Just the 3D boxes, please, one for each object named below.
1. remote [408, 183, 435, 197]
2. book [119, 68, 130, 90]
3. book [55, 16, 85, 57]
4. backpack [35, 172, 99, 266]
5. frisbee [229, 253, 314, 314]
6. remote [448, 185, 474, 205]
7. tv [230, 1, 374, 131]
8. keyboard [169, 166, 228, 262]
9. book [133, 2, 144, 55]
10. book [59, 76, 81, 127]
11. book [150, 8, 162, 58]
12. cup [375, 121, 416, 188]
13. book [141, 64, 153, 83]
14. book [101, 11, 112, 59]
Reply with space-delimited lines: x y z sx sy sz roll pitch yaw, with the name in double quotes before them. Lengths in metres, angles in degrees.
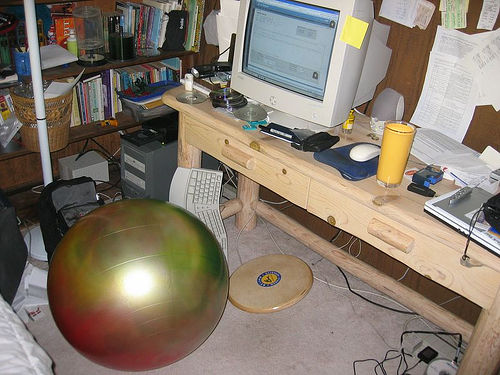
"remote" 0.626 0.011 1.405 0.078 0.019 0.039 22 44 28
"book" -0.855 -0.737 2.607 0.070 0.119 0.124 -11 38 -24
"book" -1.120 -0.950 2.393 0.179 0.203 0.182 -11 36 -21
"backpack" -0.963 0.191 2.111 0.264 0.484 0.313 10 19 36
"frisbee" 0.107 0.501 2.034 0.425 0.084 0.364 6 35 3
"remote" 0.741 0.028 1.350 0.083 0.023 0.022 -29 45 -25
"tv" 0.219 -0.515 1.599 0.420 0.363 0.245 29 42 28
"keyboard" -0.268 0.051 2.034 0.370 0.620 0.133 2 16 -9
"book" -0.737 -1.056 2.525 0.036 0.294 0.250 -3 35 -24
"book" -1.100 -0.539 2.411 0.069 0.249 0.123 -24 42 -38
"book" -0.629 -1.044 2.556 0.041 0.307 0.219 8 20 -15
"cup" 0.533 -0.134 1.432 0.105 0.217 0.177 15 35 17
"book" -0.720 -0.794 2.672 0.020 0.175 0.133 -15 34 -26
"book" -0.914 -0.963 2.445 0.062 0.233 0.234 -8 35 -17
